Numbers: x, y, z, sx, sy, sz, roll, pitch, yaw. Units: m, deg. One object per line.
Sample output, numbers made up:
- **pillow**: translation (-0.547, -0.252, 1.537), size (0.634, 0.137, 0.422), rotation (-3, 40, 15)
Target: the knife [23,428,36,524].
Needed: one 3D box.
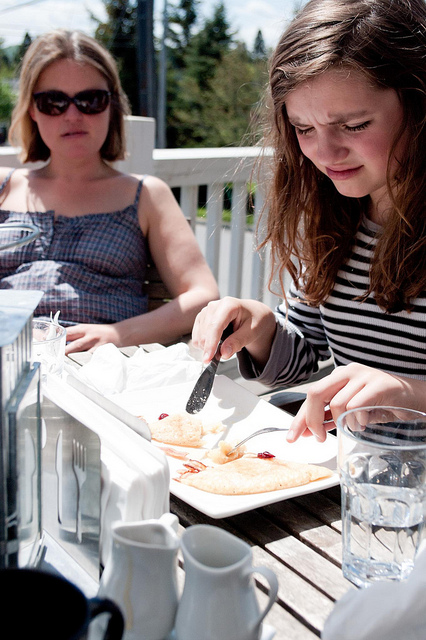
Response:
- **knife**: translation (-0.171, 0.149, 0.516), size (0.006, 0.082, 0.014), rotation (0, 5, -41)

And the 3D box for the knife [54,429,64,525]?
- **knife**: translation (-0.161, 0.164, 0.567), size (0.010, 0.087, 0.010), rotation (-2, -16, 0)

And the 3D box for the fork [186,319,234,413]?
- **fork**: translation (-0.002, 0.085, 1.108), size (0.037, 0.023, 0.255), rotation (19, 38, 5)

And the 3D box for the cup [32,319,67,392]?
- **cup**: translation (-0.242, 0.058, 0.872), size (0.056, 0.119, 0.077), rotation (-6, 15, -21)

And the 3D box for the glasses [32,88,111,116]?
- **glasses**: translation (-0.528, -0.810, 2.041), size (0.274, 0.108, 0.068), rotation (-2, 9, -11)
